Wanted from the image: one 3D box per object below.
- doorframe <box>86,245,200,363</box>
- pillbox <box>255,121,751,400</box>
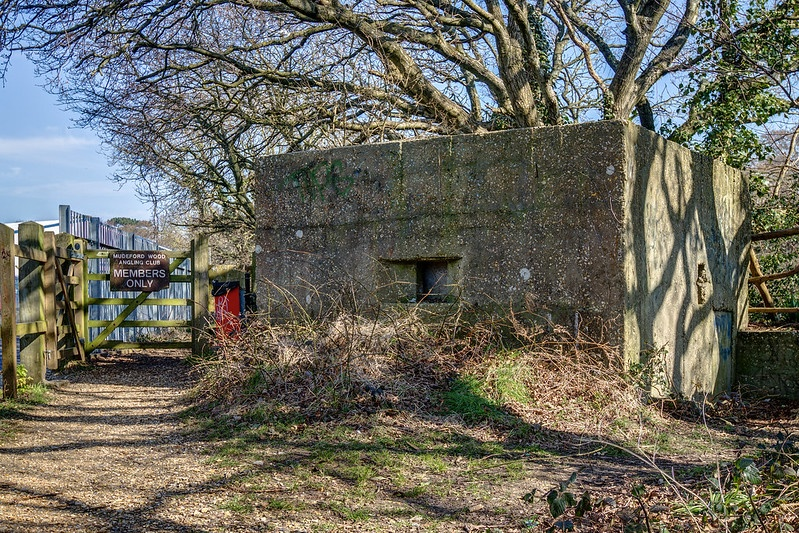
[{"bbox_3d":[-4.601,0.701,18.941,2.028,2.021,0.221,1,1,-4],"label":"doorframe"},{"bbox_3d":[1.548,0.114,15.667,7.173,3.662,2.834,-2,-1,3],"label":"pillbox"}]
